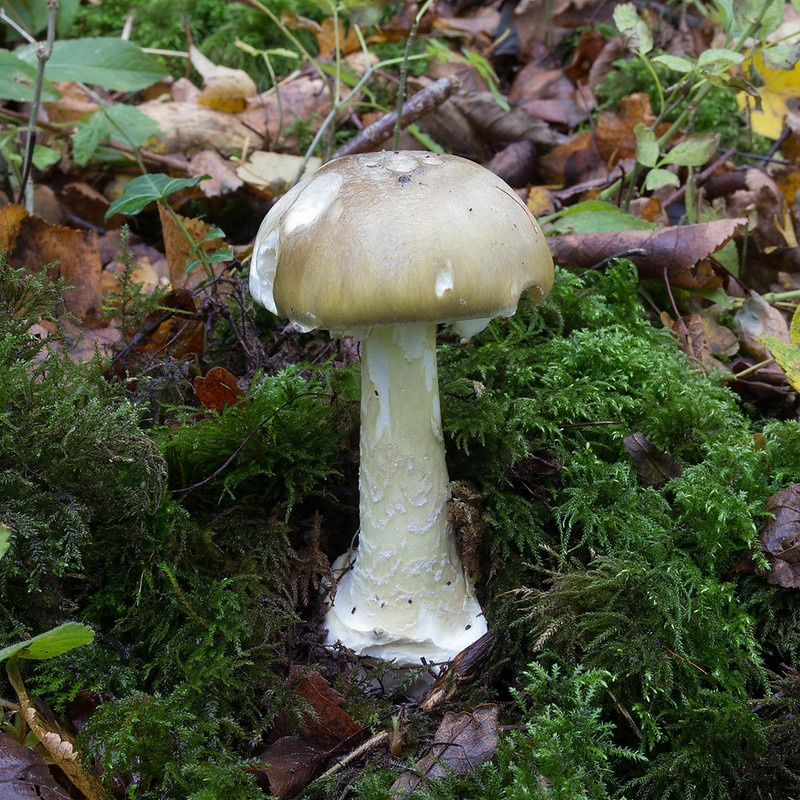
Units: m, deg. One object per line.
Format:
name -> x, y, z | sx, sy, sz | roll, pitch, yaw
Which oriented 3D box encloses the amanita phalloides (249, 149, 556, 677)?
amanita phalloides -> 0.013, 0.063, 3.276 | 1.081, 1.816, 1.003 | -2, 16, 0
